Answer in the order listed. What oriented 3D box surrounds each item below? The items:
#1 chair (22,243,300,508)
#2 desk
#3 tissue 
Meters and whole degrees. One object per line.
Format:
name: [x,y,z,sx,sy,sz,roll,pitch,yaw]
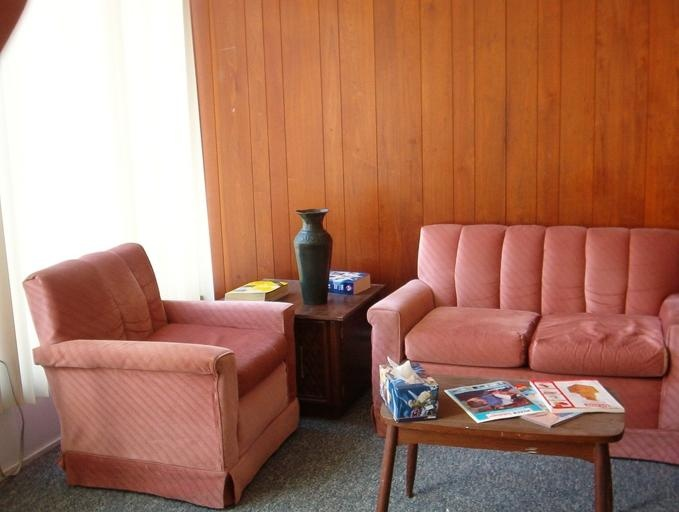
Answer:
chair: [-0.826,0.470,3.077,1.196,1.187,1.135,3,12,16]
desk: [-0.203,0.509,3.260,0.598,0.705,0.844,3,11,20]
tissue : [0.264,0.510,2.260,0.200,0.195,0.283,-4,9,-8]
